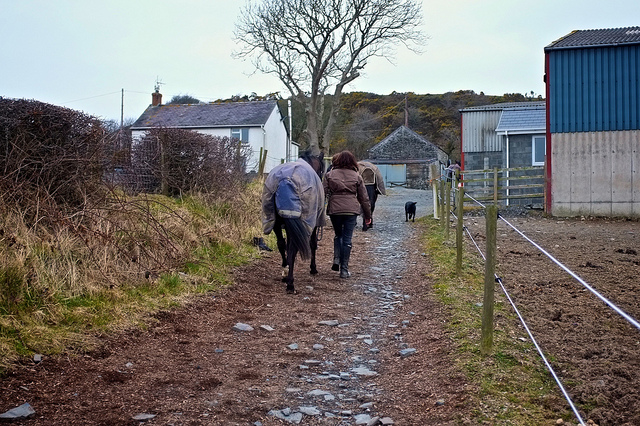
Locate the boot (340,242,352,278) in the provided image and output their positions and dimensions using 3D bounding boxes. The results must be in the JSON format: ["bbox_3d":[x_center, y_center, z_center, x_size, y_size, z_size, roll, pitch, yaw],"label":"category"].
[{"bbox_3d":[0.472,0.838,11.315,0.197,0.630,0.338,-1,6,2],"label":"boot"}]

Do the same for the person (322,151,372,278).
[{"bbox_3d":[0.446,-0.018,11.466,0.752,2.293,1.098,2,7,26],"label":"person"}]

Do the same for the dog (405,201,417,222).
[{"bbox_3d":[2.833,-0.091,19.091,0.277,0.611,0.653,0,7,10],"label":"dog"}]

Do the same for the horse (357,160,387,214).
[{"bbox_3d":[1.347,-0.737,16.044,0.861,0.523,1.328,2,18,8],"label":"horse"}]

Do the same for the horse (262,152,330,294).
[{"bbox_3d":[-0.425,0.126,10.617,0.874,2.241,1.147,2,7,24],"label":"horse"}]
